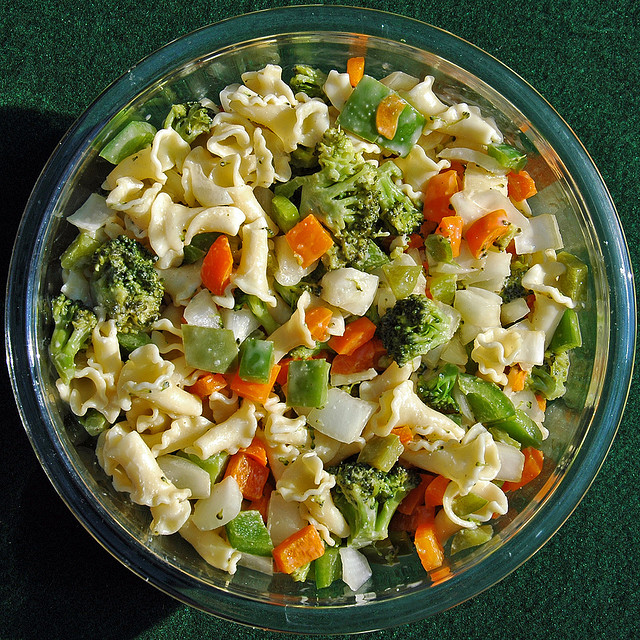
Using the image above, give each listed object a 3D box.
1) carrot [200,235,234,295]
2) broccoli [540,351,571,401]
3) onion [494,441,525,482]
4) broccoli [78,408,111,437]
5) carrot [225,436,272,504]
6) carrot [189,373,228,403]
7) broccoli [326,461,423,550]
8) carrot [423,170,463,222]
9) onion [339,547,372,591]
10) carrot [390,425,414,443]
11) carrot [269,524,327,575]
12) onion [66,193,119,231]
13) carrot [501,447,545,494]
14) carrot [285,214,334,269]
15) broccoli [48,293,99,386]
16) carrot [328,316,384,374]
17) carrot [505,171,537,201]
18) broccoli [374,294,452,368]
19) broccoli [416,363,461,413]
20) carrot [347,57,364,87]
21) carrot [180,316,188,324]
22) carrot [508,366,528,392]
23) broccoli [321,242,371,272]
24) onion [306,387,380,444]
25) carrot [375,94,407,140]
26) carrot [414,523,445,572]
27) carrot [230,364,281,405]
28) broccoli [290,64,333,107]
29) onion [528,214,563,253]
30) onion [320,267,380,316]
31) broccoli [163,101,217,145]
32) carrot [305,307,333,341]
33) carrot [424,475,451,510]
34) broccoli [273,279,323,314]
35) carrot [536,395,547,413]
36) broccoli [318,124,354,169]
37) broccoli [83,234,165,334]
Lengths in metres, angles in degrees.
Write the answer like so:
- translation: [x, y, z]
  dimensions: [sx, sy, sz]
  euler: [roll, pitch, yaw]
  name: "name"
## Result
- translation: [-0.353, -0.193, 2.399]
  dimensions: [0.122, 0.101, 0.185]
  euler: [31, 87, 2]
  name: "carrot"
- translation: [0.888, 0.217, 2.541]
  dimensions: [0.091, 0.051, 0.188]
  euler: [23, 99, 25]
  name: "broccoli"
- translation: [0.693, 0.522, 2.467]
  dimensions: [0.105, 0.051, 0.140]
  euler: [5, 86, 0]
  name: "onion"
- translation: [-0.808, 0.367, 2.419]
  dimensions: [0.079, 0.060, 0.107]
  euler: [-16, 58, -20]
  name: "broccoli"
- translation: [-0.244, 0.552, 2.468]
  dimensions: [0.194, 0.061, 0.201]
  euler: [48, 58, -28]
  name: "carrot"
- translation: [-0.397, 0.242, 2.429]
  dimensions: [0.108, 0.041, 0.091]
  euler: [-30, 105, 1]
  name: "carrot"
- translation: [0.185, 0.631, 2.374]
  dimensions: [0.267, 0.287, 0.275]
  euler: [-5, 84, 23]
  name: "broccoli"
- translation: [0.441, -0.455, 2.478]
  dimensions: [0.153, 0.145, 0.202]
  euler: [9, 92, 3]
  name: "carrot"
- translation: [0.127, 0.910, 2.461]
  dimensions: [0.114, 0.032, 0.151]
  euler: [-4, 81, -32]
  name: "onion"
- translation: [0.294, 0.415, 2.415]
  dimensions: [0.073, 0.021, 0.056]
  euler: [-15, 87, -2]
  name: "carrot"
- translation: [-0.074, 0.816, 2.371]
  dimensions: [0.177, 0.048, 0.112]
  euler: [-28, 87, -2]
  name: "carrot"
- translation: [-0.817, -0.383, 2.428]
  dimensions: [0.112, 0.034, 0.165]
  euler: [34, 79, 8]
  name: "onion"
- translation: [0.748, 0.560, 2.519]
  dimensions: [0.120, 0.039, 0.179]
  euler: [23, 97, -37]
  name: "carrot"
- translation: [-0.023, -0.275, 2.429]
  dimensions: [0.154, 0.110, 0.162]
  euler: [-41, 86, 13]
  name: "carrot"
- translation: [-0.867, 0.070, 2.453]
  dimensions: [0.190, 0.117, 0.305]
  euler: [9, 92, 10]
  name: "broccoli"
- translation: [0.129, 0.083, 2.382]
  dimensions: [0.173, 0.080, 0.219]
  euler: [3, 81, 2]
  name: "carrot"
- translation: [0.748, -0.505, 2.473]
  dimensions: [0.099, 0.084, 0.119]
  euler: [-2, 87, 13]
  name: "carrot"
- translation: [0.332, 0.020, 2.374]
  dimensions: [0.269, 0.216, 0.214]
  euler: [-23, 86, -2]
  name: "broccoli"
- translation: [0.418, 0.261, 2.429]
  dimensions: [0.078, 0.156, 0.166]
  euler: [-21, 71, 27]
  name: "broccoli"
- translation: [0.136, -0.927, 2.524]
  dimensions: [0.062, 0.053, 0.129]
  euler: [-1, 86, 0]
  name: "carrot"
- translation: [-0.495, 0.003, 2.461]
  dimensions: [0.024, 0.025, 0.028]
  euler: [3, 83, -6]
  name: "carrot"
- translation: [0.725, 0.219, 2.487]
  dimensions: [0.063, 0.035, 0.085]
  euler: [28, 86, 1]
  name: "carrot"
- translation: [0.089, -0.212, 2.349]
  dimensions: [0.130, 0.038, 0.100]
  euler: [12, 108, 8]
  name: "broccoli"
- translation: [0.082, 0.343, 2.425]
  dimensions: [0.245, 0.093, 0.170]
  euler: [19, 86, 1]
  name: "onion"
- translation: [0.247, -0.736, 2.411]
  dimensions: [0.091, 0.041, 0.141]
  euler: [24, 86, 1]
  name: "carrot"
- translation: [0.394, 0.818, 2.422]
  dimensions: [0.085, 0.042, 0.177]
  euler: [-7, 79, -3]
  name: "carrot"
- translation: [-0.229, 0.237, 2.429]
  dimensions: [0.132, 0.092, 0.155]
  euler: [16, 84, 7]
  name: "carrot"
- translation: [-0.015, -0.872, 2.549]
  dimensions: [0.176, 0.161, 0.081]
  euler: [5, 101, -26]
  name: "broccoli"
- translation: [0.835, -0.324, 2.506]
  dimensions: [0.123, 0.039, 0.141]
  euler: [-5, 84, 39]
  name: "onion"
- translation: [0.107, -0.105, 2.416]
  dimensions: [0.212, 0.145, 0.156]
  euler: [10, 86, 0]
  name: "onion"
- translation: [-0.468, -0.723, 2.440]
  dimensions: [0.147, 0.072, 0.160]
  euler: [34, 96, -5]
  name: "broccoli"
- translation: [-0.011, 0.005, 2.402]
  dimensions: [0.093, 0.053, 0.109]
  euler: [19, 86, 1]
  name: "carrot"
- translation: [0.427, 0.626, 2.473]
  dimensions: [0.072, 0.044, 0.118]
  euler: [19, 96, -26]
  name: "carrot"
- translation: [-0.093, -0.096, 2.404]
  dimensions: [0.128, 0.051, 0.136]
  euler: [-36, 84, 5]
  name: "broccoli"
- translation: [0.840, 0.317, 2.553]
  dimensions: [0.013, 0.040, 0.059]
  euler: [-7, 89, 45]
  name: "carrot"
- translation: [0.046, -0.643, 2.365]
  dimensions: [0.041, 0.081, 0.110]
  euler: [-56, 46, 5]
  name: "broccoli"
- translation: [-0.645, -0.125, 2.423]
  dimensions: [0.307, 0.158, 0.282]
  euler: [40, 102, 15]
  name: "broccoli"
